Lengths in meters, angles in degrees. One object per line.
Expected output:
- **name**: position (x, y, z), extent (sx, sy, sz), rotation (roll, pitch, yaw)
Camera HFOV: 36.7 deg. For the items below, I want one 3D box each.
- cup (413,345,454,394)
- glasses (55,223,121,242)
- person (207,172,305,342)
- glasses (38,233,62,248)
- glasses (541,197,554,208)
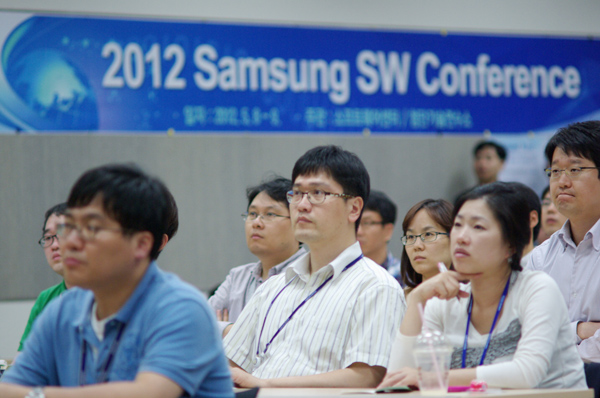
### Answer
- **cup**: position (0.784, 0.994, 5.325), extent (0.236, 0.273, 0.253), rotation (2, -7, 0)
- **glasses**: position (-1.248, 0.194, 5.271), extent (0.199, 0.075, 0.159), rotation (3, -8, -21)
- **person**: position (-0.322, 0.430, 6.817), extent (0.741, 1.289, 0.928), rotation (14, -18, -41)
- **glasses**: position (-1.891, 0.314, 6.912), extent (0.210, 0.070, 0.215), rotation (-5, -8, 33)
- **glasses**: position (2.099, 0.024, 7.630), extent (0.127, 0.098, 0.113), rotation (-4, 4, -34)
